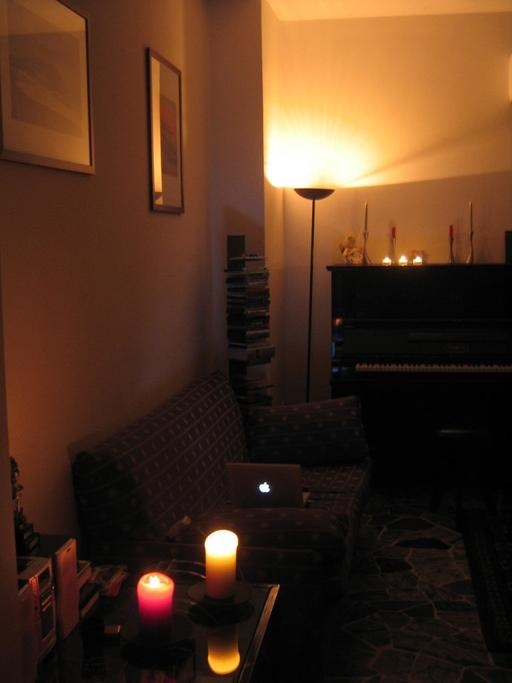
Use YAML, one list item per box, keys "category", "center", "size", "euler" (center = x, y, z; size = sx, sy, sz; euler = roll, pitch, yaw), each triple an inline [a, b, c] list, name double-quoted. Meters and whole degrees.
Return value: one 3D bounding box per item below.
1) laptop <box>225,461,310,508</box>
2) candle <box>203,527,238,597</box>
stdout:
- category: "laptop"
  center: [0.030, 0.454, 1.857]
  size: [0.184, 0.150, 0.153]
  euler: [0, 6, 15]
- category: "candle"
  center: [-0.071, 0.474, 1.312]
  size: [0.085, 0.157, 0.087]
  euler: [6, 9, 36]
